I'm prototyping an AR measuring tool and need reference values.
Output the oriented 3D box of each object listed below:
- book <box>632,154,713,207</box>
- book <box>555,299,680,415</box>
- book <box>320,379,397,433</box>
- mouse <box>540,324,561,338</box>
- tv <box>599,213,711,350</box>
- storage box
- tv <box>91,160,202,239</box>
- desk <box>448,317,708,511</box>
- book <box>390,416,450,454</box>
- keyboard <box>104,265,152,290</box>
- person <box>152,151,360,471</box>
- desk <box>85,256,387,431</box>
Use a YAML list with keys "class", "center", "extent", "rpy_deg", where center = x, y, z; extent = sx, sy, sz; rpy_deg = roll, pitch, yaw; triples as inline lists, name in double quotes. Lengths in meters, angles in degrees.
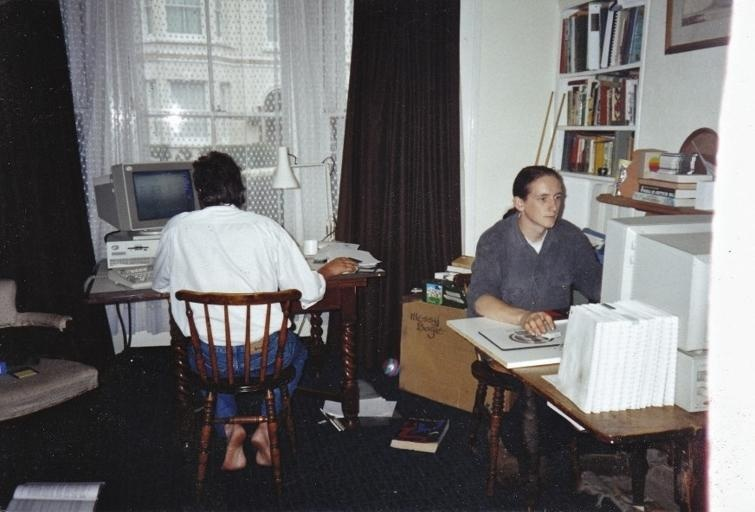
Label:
- class: "book"
  center: [1.566, -0.410, 3.049]
  extent: [0.305, 0.187, 0.305]
  rpy_deg: [-5, 11, -42]
- class: "book"
  center: [0.866, 0.341, 2.303]
  extent: [0.479, 0.490, 0.368]
  rpy_deg: [-1, 7, -10]
- class: "book"
  center: [-0.124, 0.956, 3.639]
  extent: [0.376, 0.116, 0.283]
  rpy_deg: [-2, 16, -6]
- class: "mouse"
  center: [0.771, 0.334, 2.538]
  extent: [0.059, 0.020, 0.063]
  rpy_deg: [-42, 55, -9]
- class: "tv"
  center: [1.075, 0.057, 2.387]
  extent: [0.498, 0.484, 0.489]
  rpy_deg: [3, 12, 10]
- class: "storage box"
  center: [0.393, 0.620, 3.549]
  extent: [0.705, 0.685, 0.230]
  rpy_deg: [8, 7, 37]
- class: "tv"
  center: [-1.495, -0.338, 3.658]
  extent: [0.543, 0.412, 0.529]
  rpy_deg: [-7, 11, -42]
- class: "desk"
  center: [0.891, 0.710, 2.479]
  extent: [0.532, 0.478, 0.961]
  rpy_deg: [-4, 10, -18]
- class: "book"
  center: [0.247, 1.065, 3.368]
  extent: [0.287, 0.050, 0.375]
  rpy_deg: [1, 14, 16]
- class: "keyboard"
  center: [-1.372, 0.121, 3.220]
  extent: [0.213, 0.080, 0.376]
  rpy_deg: [-11, 16, -32]
- class: "person"
  center: [-0.640, 0.352, 3.137]
  extent: [1.116, 1.703, 0.819]
  rpy_deg: [0, 8, 3]
- class: "desk"
  center: [-0.908, 0.415, 3.223]
  extent: [1.458, 0.874, 1.454]
  rpy_deg: [6, -5, 10]
